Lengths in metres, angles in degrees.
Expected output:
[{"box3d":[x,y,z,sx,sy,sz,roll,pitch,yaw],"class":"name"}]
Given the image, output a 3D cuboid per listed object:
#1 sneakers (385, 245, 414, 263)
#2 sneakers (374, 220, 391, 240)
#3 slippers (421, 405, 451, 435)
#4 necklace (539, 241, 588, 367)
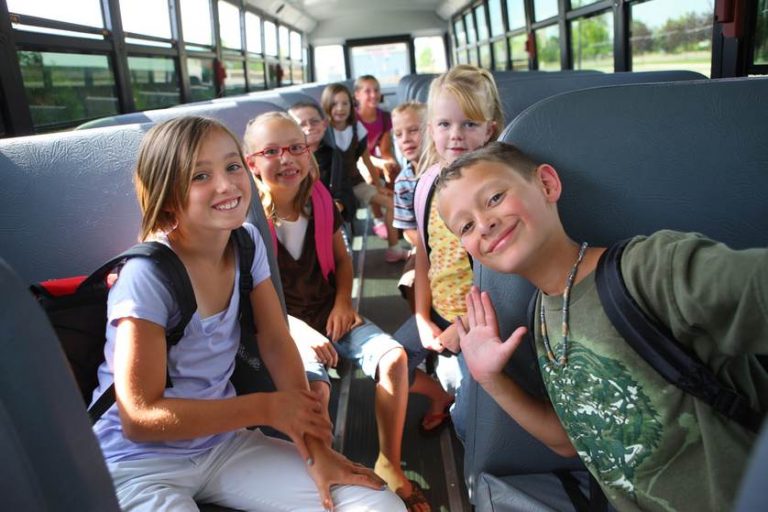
[{"box3d":[0.101,-0.011,3.759,0.191,0.202,0.093,-3,0,-8],"class":"sneakers"},{"box3d":[-0.019,-0.205,4.265,0.080,0.085,0.205,-21,24,-8],"class":"sneakers"},{"box3d":[0.206,0.658,2.108,0.178,0.075,0.063,-16,8,-36],"class":"slippers"},{"box3d":[0.387,0.122,1.207,0.050,0.259,0.149,-1,-7,-4],"class":"necklace"}]
